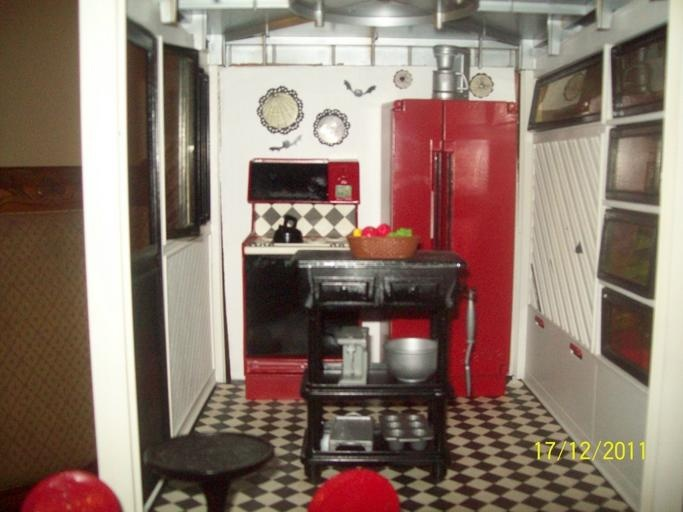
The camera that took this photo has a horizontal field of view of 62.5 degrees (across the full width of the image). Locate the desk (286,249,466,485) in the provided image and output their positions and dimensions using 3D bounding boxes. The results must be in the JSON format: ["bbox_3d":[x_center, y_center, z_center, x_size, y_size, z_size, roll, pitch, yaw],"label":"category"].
[{"bbox_3d":[0.240,0.753,3.942,1.139,1.381,0.825,1,-2,4],"label":"desk"}]

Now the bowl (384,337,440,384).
[{"bbox_3d":[0.480,0.722,3.862,0.385,0.228,0.377,0,2,0],"label":"bowl"}]

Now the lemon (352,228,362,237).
[{"bbox_3d":[0.101,-0.154,3.791,0.052,0.034,0.061,-2,-4,-14],"label":"lemon"}]
